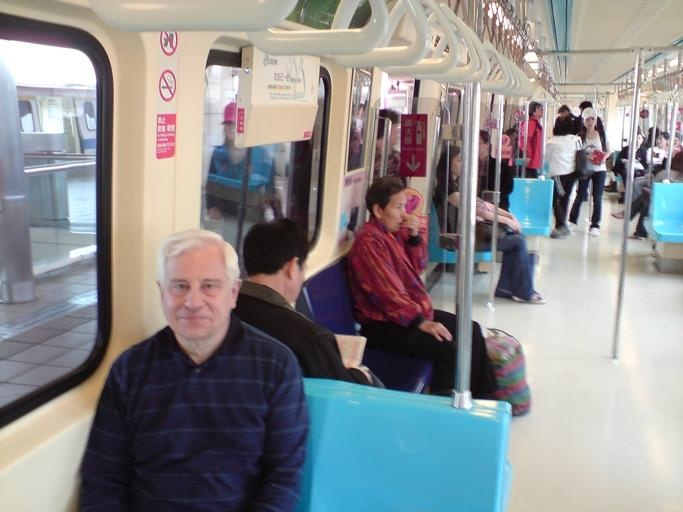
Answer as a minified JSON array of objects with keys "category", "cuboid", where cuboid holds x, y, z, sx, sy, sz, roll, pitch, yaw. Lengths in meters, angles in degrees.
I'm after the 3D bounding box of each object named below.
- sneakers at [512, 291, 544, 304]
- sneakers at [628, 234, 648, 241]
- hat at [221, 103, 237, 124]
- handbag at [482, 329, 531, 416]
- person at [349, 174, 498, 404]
[{"category":"sneakers","cuboid":[2.185,0.469,5.852,0.390,0.167,0.139,0,8,10]},{"category":"sneakers","cuboid":[5.362,-0.339,8.989,0.100,0.125,0.300,-12,16,-37]},{"category":"hat","cuboid":[-0.571,-0.738,2.549,0.061,0.109,0.052,1,10,3]},{"category":"handbag","cuboid":[1.143,0.827,3.469,0.274,0.534,0.355,0,-6,38]},{"category":"person","cuboid":[0.528,0.280,3.333,0.875,1.591,0.595,1,12,33]}]
